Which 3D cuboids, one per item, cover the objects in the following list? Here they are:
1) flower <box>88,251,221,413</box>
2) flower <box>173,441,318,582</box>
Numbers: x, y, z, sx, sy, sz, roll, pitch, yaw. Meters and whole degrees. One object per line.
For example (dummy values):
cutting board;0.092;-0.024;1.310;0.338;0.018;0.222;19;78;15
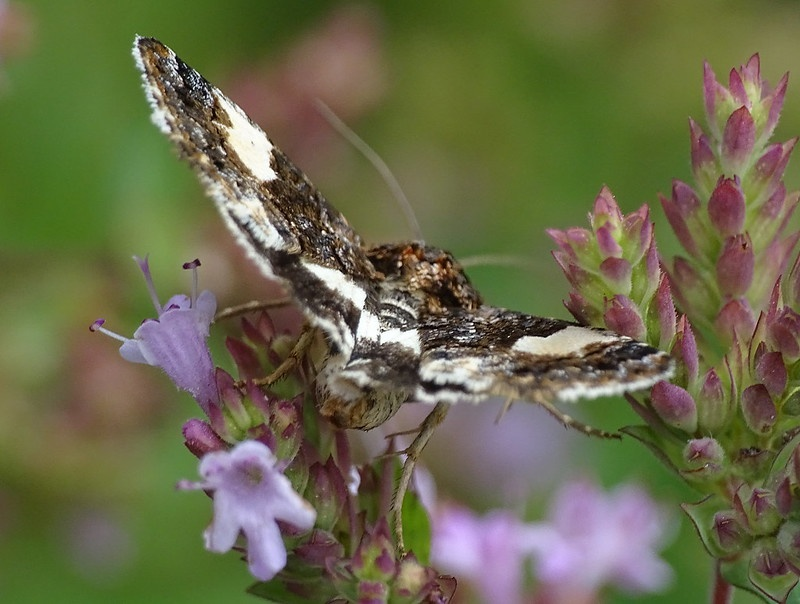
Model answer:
flower;-0.650;0.088;2.799;0.320;0.476;0.227;-9;-10;-9
flower;-0.338;0.470;2.548;0.410;0.410;0.099;-25;-7;42
